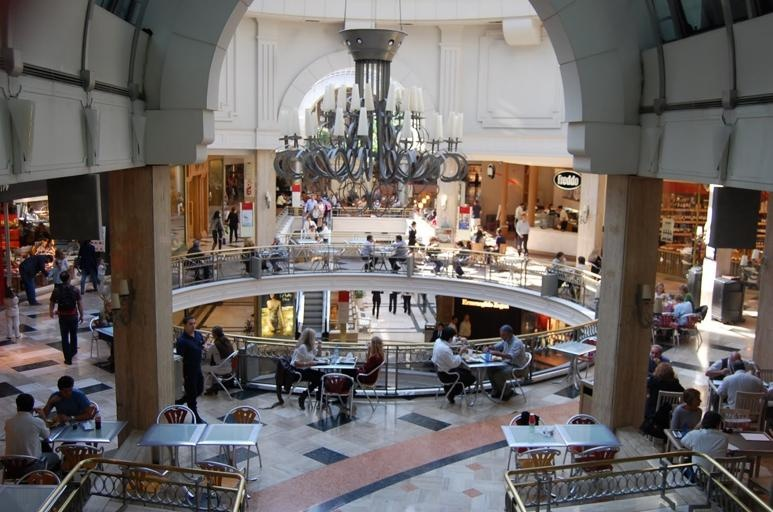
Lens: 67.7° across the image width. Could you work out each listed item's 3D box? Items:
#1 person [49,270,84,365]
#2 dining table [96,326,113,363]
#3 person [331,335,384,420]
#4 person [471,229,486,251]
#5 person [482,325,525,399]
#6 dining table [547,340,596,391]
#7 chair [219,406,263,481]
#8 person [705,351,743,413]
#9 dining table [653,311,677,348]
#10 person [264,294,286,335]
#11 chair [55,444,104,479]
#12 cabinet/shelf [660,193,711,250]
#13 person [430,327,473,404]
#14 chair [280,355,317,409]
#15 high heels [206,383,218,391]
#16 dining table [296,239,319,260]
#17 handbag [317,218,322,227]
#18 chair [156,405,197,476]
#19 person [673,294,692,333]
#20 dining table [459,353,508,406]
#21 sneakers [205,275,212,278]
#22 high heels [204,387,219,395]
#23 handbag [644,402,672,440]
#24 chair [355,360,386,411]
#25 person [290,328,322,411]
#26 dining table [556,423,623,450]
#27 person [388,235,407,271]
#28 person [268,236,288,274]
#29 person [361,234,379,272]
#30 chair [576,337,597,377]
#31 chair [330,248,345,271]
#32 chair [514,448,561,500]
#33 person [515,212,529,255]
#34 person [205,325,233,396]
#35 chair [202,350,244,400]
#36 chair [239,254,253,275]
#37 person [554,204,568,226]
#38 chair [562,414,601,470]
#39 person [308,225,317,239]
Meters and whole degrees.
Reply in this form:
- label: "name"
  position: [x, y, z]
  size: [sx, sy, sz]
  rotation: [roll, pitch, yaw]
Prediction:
- label: "person"
  position: [-7.076, 1.282, 12.652]
  size: [0.558, 1.996, 1.389]
  rotation: [-6, 9, -30]
- label: "dining table"
  position: [-6.038, 1.901, 12.286]
  size: [0.286, 0.780, 0.909]
  rotation: [-6, 9, -28]
- label: "person"
  position: [-0.524, 2.270, 10.709]
  size: [0.727, 1.049, 0.681]
  rotation: [9, 1, -22]
- label: "person"
  position: [3.615, -0.582, 22.503]
  size: [0.453, 0.834, 1.655]
  rotation: [0, 8, 8]
- label: "person"
  position: [2.321, 2.049, 11.132]
  size: [0.765, 1.468, 0.478]
  rotation: [1, 8, 15]
- label: "dining table"
  position: [4.046, 2.167, 12.108]
  size: [0.959, 0.965, 0.981]
  rotation: [10, 16, 41]
- label: "chair"
  position: [-2.216, 2.814, 8.572]
  size: [0.733, 0.942, 0.705]
  rotation: [-1, 4, -20]
- label: "person"
  position: [6.126, 2.330, 10.386]
  size: [0.565, 1.314, 0.641]
  rotation: [-6, 12, -3]
- label: "dining table"
  position: [7.169, 1.789, 14.698]
  size: [0.531, 0.960, 0.614]
  rotation: [2, 22, 20]
- label: "person"
  position: [-4.368, 2.313, 22.294]
  size: [0.608, 1.444, 0.520]
  rotation: [-4, 8, -18]
- label: "chair"
  position: [-4.275, 2.722, 7.799]
  size: [0.702, 0.385, 0.312]
  rotation: [2, 9, 19]
- label: "cabinet/shelf"
  position: [11.181, -1.195, 21.513]
  size: [2.085, 2.103, 0.733]
  rotation: [1, -3, -5]
- label: "person"
  position: [1.300, 2.077, 11.167]
  size: [0.833, 1.534, 0.666]
  rotation: [-7, 13, -22]
- label: "chair"
  position: [-1.813, 2.412, 11.066]
  size: [0.730, 0.832, 0.644]
  rotation: [3, -1, -37]
- label: "high heels"
  position: [-3.402, 2.564, 11.190]
  size: [0.189, 0.189, 0.337]
  rotation: [4, -12, -8]
- label: "dining table"
  position: [-2.734, -0.188, 19.753]
  size: [0.706, 0.546, 0.821]
  rotation: [-3, 8, -9]
- label: "handbag"
  position: [-2.629, -1.318, 22.765]
  size: [0.195, 0.289, 0.074]
  rotation: [1, -16, 0]
- label: "chair"
  position: [-3.204, 2.748, 8.652]
  size: [0.579, 0.781, 0.602]
  rotation: [4, 29, -10]
- label: "person"
  position: [7.508, 1.420, 14.527]
  size: [0.554, 0.785, 0.496]
  rotation: [-1, 8, 1]
- label: "dining table"
  position: [1.810, 2.237, 11.178]
  size: [0.743, 0.932, 1.304]
  rotation: [-1, 7, -16]
- label: "sneakers"
  position: [-5.537, 0.649, 17.744]
  size: [0.124, 0.093, 0.068]
  rotation: [-3, 0, -26]
- label: "high heels"
  position: [-3.440, 2.632, 11.178]
  size: [0.146, 0.192, 0.206]
  rotation: [0, 5, 6]
- label: "handbag"
  position: [4.236, 2.566, 8.902]
  size: [0.283, 0.517, 0.447]
  rotation: [14, 9, 21]
- label: "chair"
  position: [-0.328, 2.179, 10.756]
  size: [0.539, 0.774, 0.519]
  rotation: [-1, 8, 1]
- label: "person"
  position: [-1.496, 2.093, 10.715]
  size: [0.573, 1.452, 0.762]
  rotation: [-2, 8, -7]
- label: "dining table"
  position: [2.813, 2.628, 8.065]
  size: [0.775, 0.374, 0.645]
  rotation: [-1, 8, 1]
- label: "person"
  position: [0.412, -0.090, 19.633]
  size: [0.632, 1.221, 0.398]
  rotation: [-1, 8, 1]
- label: "person"
  position: [-3.632, -0.065, 19.057]
  size: [0.671, 1.214, 0.510]
  rotation: [-8, 23, -32]
- label: "person"
  position: [-0.586, -0.106, 19.487]
  size: [0.542, 1.270, 0.673]
  rotation: [-1, 8, -1]
- label: "chair"
  position: [4.394, 2.290, 12.747]
  size: [0.352, 0.499, 0.391]
  rotation: [5, -7, 32]
- label: "chair"
  position: [-1.726, 0.160, 19.593]
  size: [0.589, 0.655, 0.586]
  rotation: [0, -2, 9]
- label: "chair"
  position: [2.083, 2.945, 8.044]
  size: [0.521, 0.849, 0.603]
  rotation: [0, 10, 2]
- label: "person"
  position: [5.360, -0.795, 22.299]
  size: [0.546, 1.608, 0.531]
  rotation: [-3, 7, -6]
- label: "person"
  position: [-3.308, 2.073, 11.196]
  size: [0.685, 1.257, 0.540]
  rotation: [2, 3, 32]
- label: "chair"
  position: [-3.224, 2.215, 11.199]
  size: [0.673, 0.903, 0.604]
  rotation: [6, 12, 24]
- label: "chair"
  position: [-4.505, 0.241, 18.526]
  size: [0.348, 0.641, 0.813]
  rotation: [-4, 8, -15]
- label: "person"
  position: [8.031, -1.808, 26.045]
  size: [0.505, 0.771, 1.468]
  rotation: [1, 9, 17]
- label: "chair"
  position: [2.935, 2.728, 8.661]
  size: [0.644, 0.883, 0.666]
  rotation: [1, -1, 19]
- label: "person"
  position: [-2.746, -0.880, 21.176]
  size: [0.276, 0.459, 0.952]
  rotation: [-2, 8, -7]
